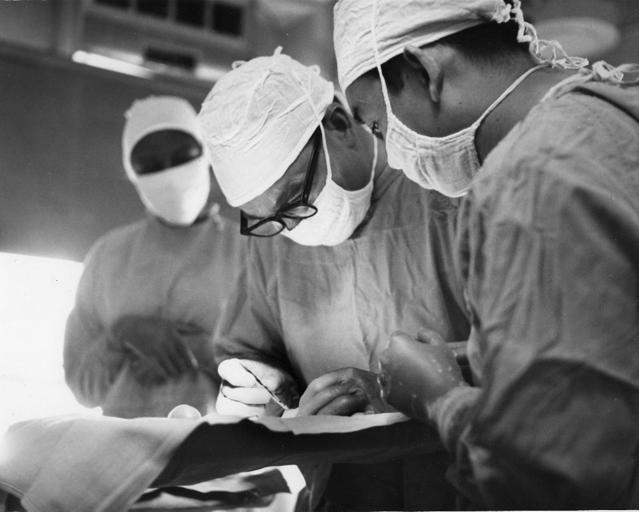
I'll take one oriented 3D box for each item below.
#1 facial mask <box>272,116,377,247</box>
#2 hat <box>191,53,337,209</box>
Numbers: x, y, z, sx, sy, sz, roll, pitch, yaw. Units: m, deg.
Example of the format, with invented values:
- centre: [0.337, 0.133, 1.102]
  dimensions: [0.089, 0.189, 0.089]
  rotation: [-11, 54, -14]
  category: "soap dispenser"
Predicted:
- centre: [0.027, -0.201, 3.044]
  dimensions: [0.088, 0.380, 0.249]
  rotation: [9, -11, -36]
  category: "facial mask"
- centre: [-0.149, -0.392, 3.037]
  dimensions: [0.312, 0.292, 0.456]
  rotation: [7, 55, 52]
  category: "hat"
